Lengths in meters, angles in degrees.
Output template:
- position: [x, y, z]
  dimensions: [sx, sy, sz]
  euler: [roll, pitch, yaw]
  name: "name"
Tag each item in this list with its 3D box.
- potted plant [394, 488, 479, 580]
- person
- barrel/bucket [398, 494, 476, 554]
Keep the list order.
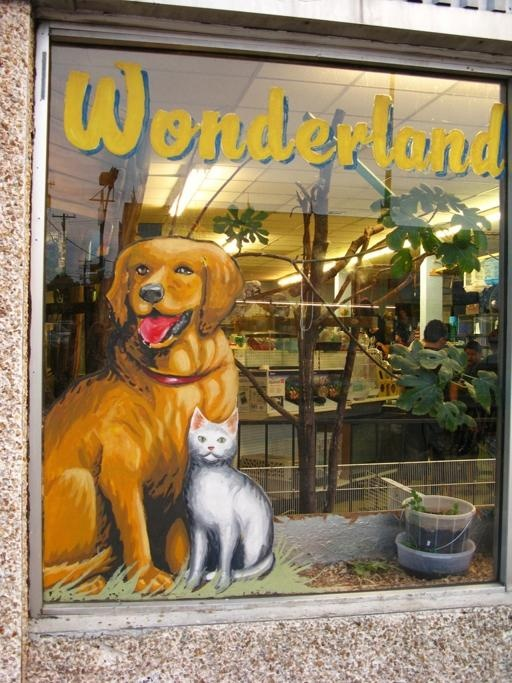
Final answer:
- position: [0.904, 0.974, 3.642]
  dimensions: [0.461, 0.348, 0.425]
  euler: [0, 3, 6]
  name: "potted plant"
- position: [0.943, 0.236, 3.723]
  dimensions: [0.690, 0.701, 0.276]
  euler: [-6, -6, -10]
  name: "person"
- position: [0.936, 0.943, 3.567]
  dimensions: [0.344, 0.222, 0.325]
  euler: [1, -4, 0]
  name: "barrel/bucket"
